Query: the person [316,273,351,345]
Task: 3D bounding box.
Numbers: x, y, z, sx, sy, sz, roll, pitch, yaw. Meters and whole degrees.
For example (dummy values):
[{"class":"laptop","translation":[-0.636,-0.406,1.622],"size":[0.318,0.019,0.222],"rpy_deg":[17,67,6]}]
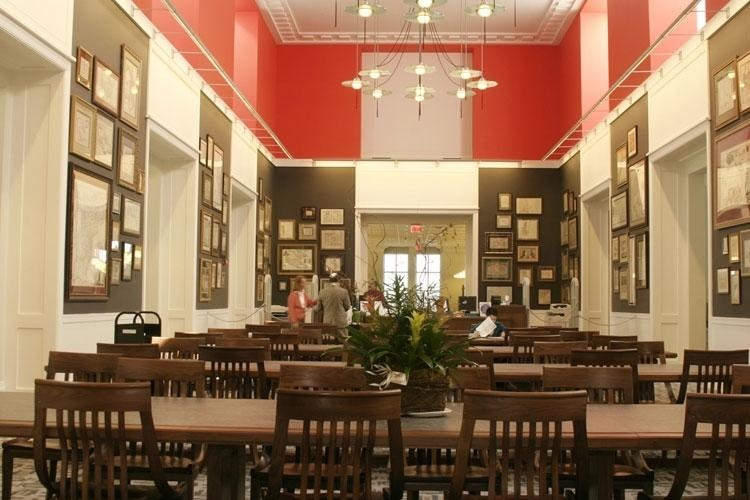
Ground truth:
[{"class":"person","translation":[-0.794,1.274,12.679],"size":[0.593,1.693,0.509],"rpy_deg":[1,16,3]}]
